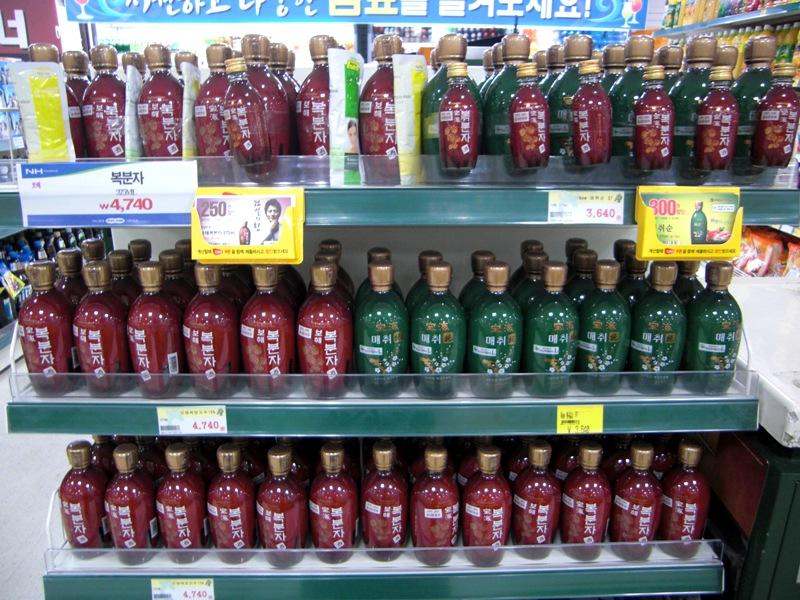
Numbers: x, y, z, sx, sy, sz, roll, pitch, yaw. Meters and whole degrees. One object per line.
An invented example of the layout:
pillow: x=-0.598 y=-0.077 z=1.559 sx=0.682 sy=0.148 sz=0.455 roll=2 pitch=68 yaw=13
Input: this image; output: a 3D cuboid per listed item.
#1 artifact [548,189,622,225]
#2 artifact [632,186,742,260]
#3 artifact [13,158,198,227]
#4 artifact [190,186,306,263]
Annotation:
artifact: x=0.445 y=-0.217 z=1.377 sx=0.194 sy=0.089 sz=0.028 roll=-6 pitch=17 yaw=-9
artifact: x=0.691 y=-0.187 z=1.384 sx=0.156 sy=0.116 sz=0.052 roll=0 pitch=15 yaw=1
artifact: x=-0.692 y=-0.250 z=1.370 sx=0.414 sy=0.157 sz=0.035 roll=-4 pitch=17 yaw=0
artifact: x=-0.366 y=-0.177 z=1.383 sx=0.281 sy=0.182 sz=0.063 roll=0 pitch=17 yaw=9
